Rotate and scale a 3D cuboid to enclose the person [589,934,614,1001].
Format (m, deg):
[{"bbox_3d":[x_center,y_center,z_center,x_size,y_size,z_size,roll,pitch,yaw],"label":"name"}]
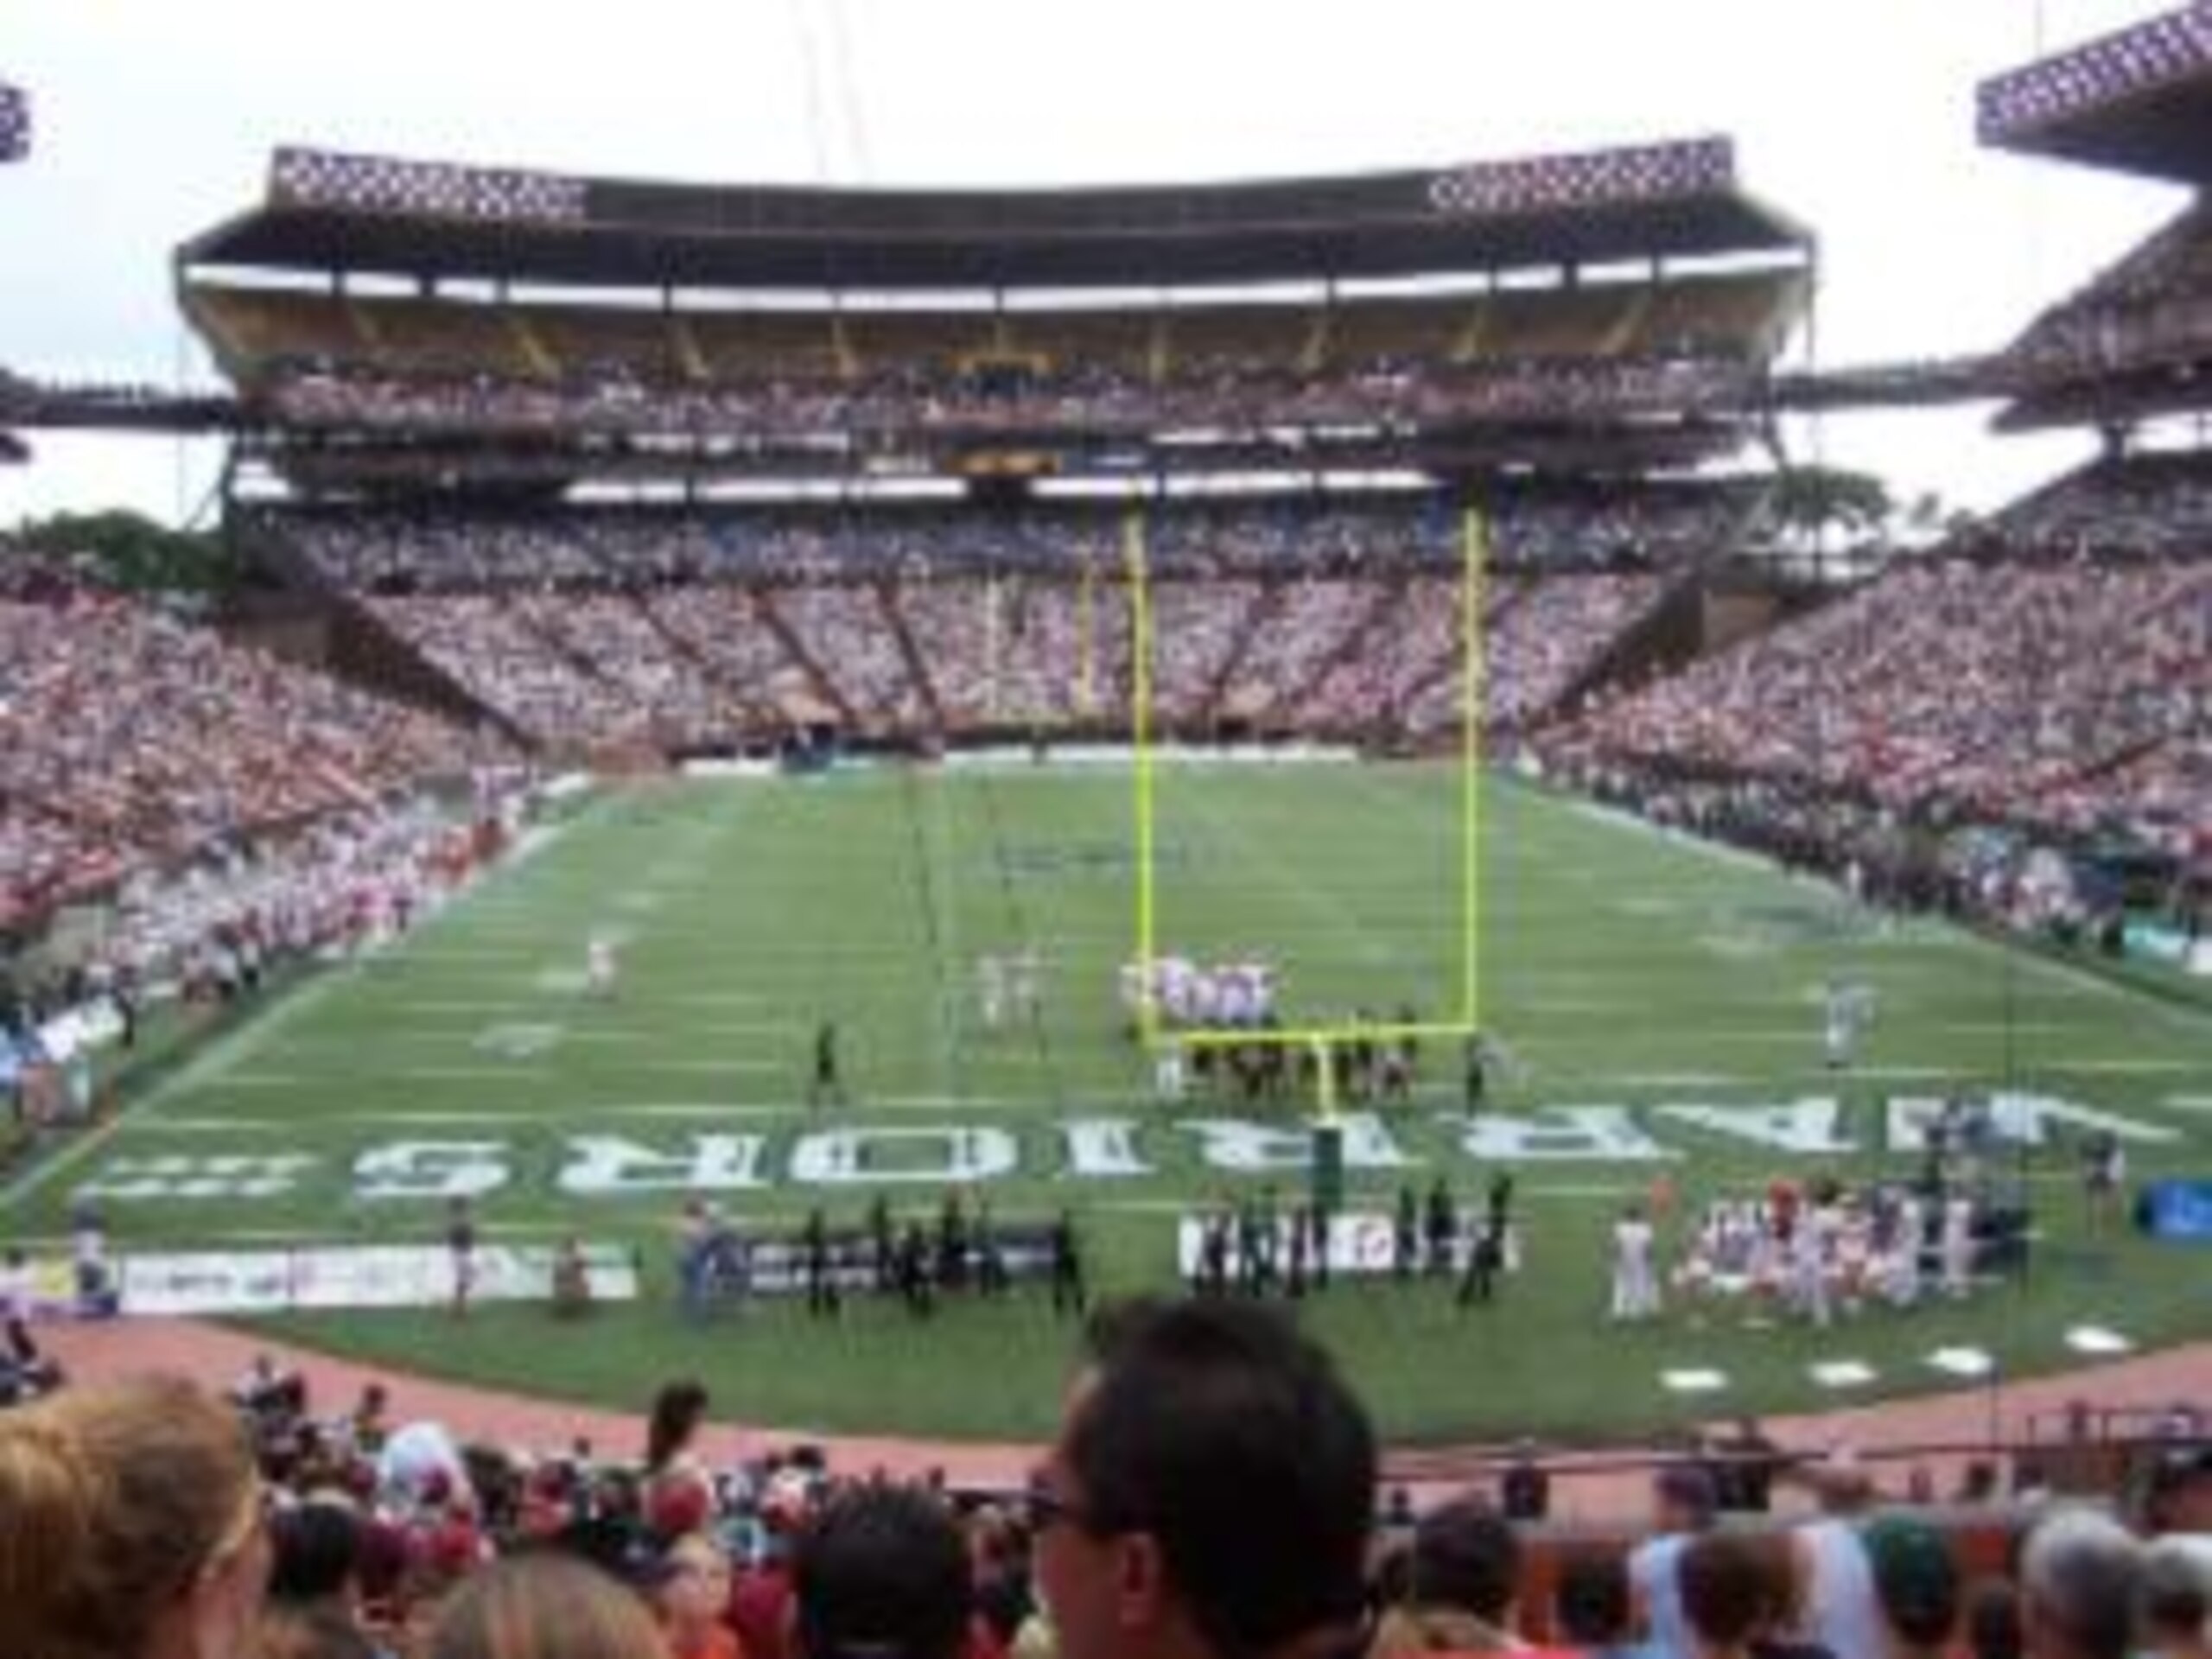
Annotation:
[{"bbox_3d":[-6.489,1.751,23.199,0.309,0.852,1.487,3,-11,-15],"label":"person"}]
